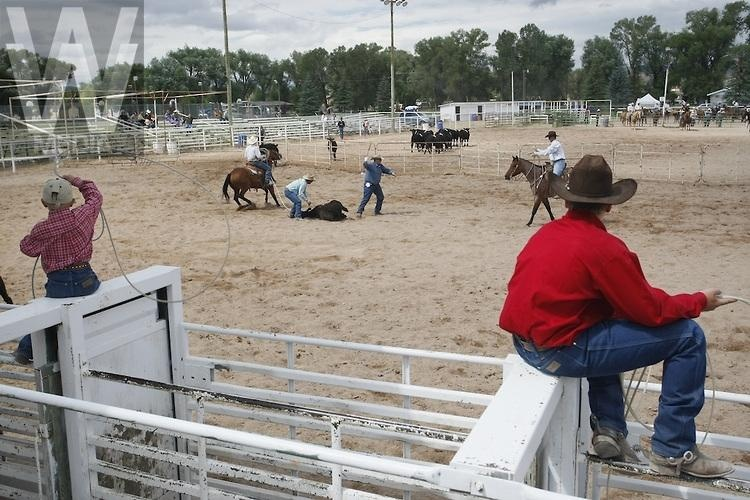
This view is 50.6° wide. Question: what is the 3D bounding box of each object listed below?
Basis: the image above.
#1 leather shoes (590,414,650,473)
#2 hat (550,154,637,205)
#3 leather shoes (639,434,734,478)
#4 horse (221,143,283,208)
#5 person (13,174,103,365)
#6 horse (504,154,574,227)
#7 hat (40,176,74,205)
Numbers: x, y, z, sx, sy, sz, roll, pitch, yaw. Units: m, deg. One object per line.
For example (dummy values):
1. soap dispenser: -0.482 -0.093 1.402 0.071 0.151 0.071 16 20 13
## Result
1. leather shoes: 1.564 1.300 5.262 0.527 0.227 0.184 32 -29 -24
2. hat: 1.518 -0.513 5.493 0.592 0.233 0.662 3 18 8
3. leather shoes: 2.053 1.335 5.123 0.490 0.181 0.217 -3 -3 -1
4. horse: -3.086 -1.747 19.762 0.543 1.469 2.208 7 19 34
5. person: -2.638 -0.108 6.583 0.674 0.941 0.895 -7 15 -19
6. horse: 3.975 -1.334 17.588 2.180 1.441 0.575 4 10 28
7. hat: -2.707 -0.511 6.681 0.193 0.144 0.258 -1 25 -11
